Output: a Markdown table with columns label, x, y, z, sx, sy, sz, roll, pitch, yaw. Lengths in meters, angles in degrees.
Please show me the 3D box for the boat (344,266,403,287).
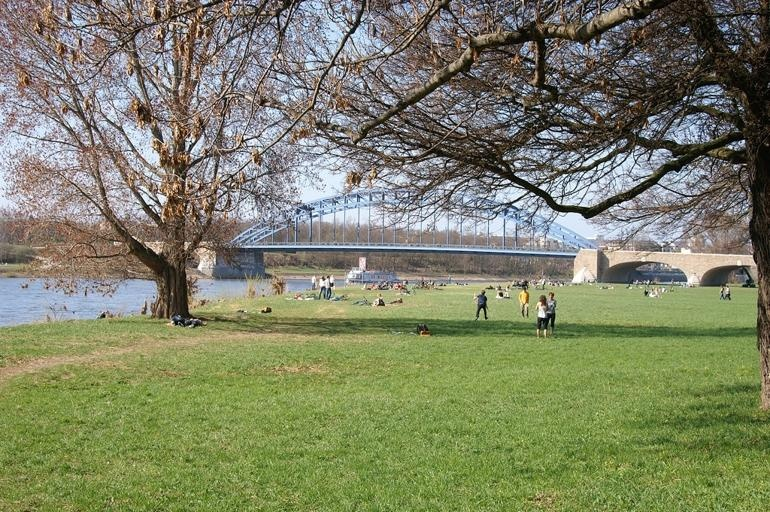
| label | x | y | z | sx | sy | sz | roll | pitch | yaw |
| --- | --- | --- | --- | --- | --- | --- | --- | --- | --- |
| boat | -1.204 | 2.100 | 106.583 | 2.088 | 2.263 | 8.688 | -3 | -6 | 37 |
